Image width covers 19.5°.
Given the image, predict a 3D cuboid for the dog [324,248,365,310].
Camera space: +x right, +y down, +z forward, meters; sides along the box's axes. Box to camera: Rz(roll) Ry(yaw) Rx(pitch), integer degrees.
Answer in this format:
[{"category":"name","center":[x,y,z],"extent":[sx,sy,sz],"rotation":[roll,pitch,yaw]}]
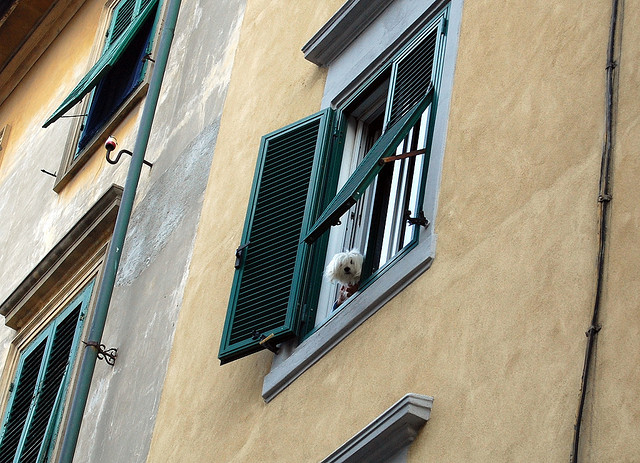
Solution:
[{"category":"dog","center":[0.233,0.372,15.058],"extent":[0.379,0.429,0.328],"rotation":[-14,-6,44]}]

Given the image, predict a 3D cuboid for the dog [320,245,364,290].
[{"category":"dog","center":[0.199,0.301,15.033],"extent":[0.248,0.249,0.317],"rotation":[-2,-17,-7]}]
